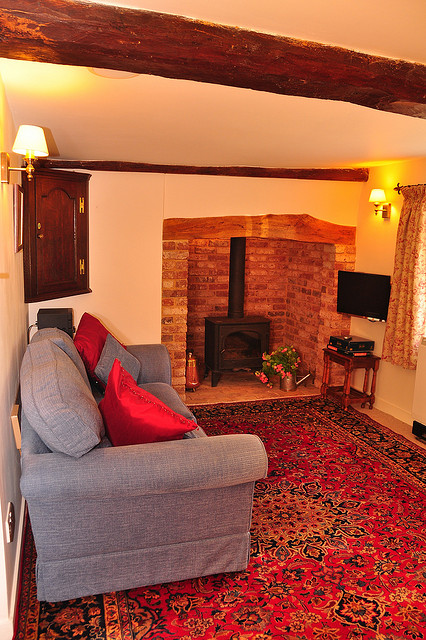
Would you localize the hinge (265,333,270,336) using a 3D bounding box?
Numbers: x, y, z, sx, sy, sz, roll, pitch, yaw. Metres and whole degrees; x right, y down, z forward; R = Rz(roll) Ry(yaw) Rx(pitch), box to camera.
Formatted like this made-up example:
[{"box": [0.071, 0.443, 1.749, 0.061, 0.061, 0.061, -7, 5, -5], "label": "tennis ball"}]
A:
[{"box": [0.608, 0.157, 5.395, 0.014, 0.036, 0.069, -5, -2, 38], "label": "hinge"}]

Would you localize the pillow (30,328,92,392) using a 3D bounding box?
[{"box": [-0.740, 0.196, 2.321, 0.112, 0.260, 0.320, -17, -8, -7], "label": "pillow"}]

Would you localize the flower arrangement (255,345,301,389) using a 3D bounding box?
[{"box": [0.635, 0.565, 5.370, 0.374, 0.265, 0.301, -24, 23, -24], "label": "flower arrangement"}]

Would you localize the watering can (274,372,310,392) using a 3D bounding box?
[{"box": [0.878, 0.689, 5.336, 0.331, 0.239, 0.182, 1, 7, -11], "label": "watering can"}]

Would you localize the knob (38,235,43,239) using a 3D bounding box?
[{"box": [-1.312, -0.636, 3.623, 0.008, 0.031, 0.024, 16, 17, 39], "label": "knob"}]

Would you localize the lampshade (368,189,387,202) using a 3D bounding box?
[{"box": [1.504, -1.137, 4.367, 0.118, 0.118, 0.119, -7, 22, -5], "label": "lampshade"}]

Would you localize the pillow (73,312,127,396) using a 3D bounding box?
[{"box": [-0.819, 0.160, 3.108, 0.131, 0.444, 0.417, -25, 37, -3], "label": "pillow"}]

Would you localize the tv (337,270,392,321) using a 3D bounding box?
[{"box": [1.502, -0.253, 4.684, 0.050, 0.362, 0.485, -6, 10, -37], "label": "tv"}]

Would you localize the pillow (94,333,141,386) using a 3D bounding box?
[{"box": [-0.608, 0.262, 3.056, 0.082, 0.291, 0.268, -12, 47, 15], "label": "pillow"}]

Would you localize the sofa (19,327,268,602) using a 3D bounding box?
[{"box": [-0.508, 0.557, 2.506, 0.971, 0.984, 1.473, -4, 14, -23], "label": "sofa"}]

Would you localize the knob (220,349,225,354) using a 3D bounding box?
[{"box": [0.097, 0.342, 5.271, 0.013, 0.053, 0.052, 9, 16, 20], "label": "knob"}]

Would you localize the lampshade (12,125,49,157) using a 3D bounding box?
[{"box": [-0.840, -0.824, 2.226, 0.154, 0.151, 0.156, 17, 25, 27], "label": "lampshade"}]

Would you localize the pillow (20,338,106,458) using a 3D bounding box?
[{"box": [-0.688, 0.287, 2.124, 0.319, 0.291, 0.839, -9, 18, -22], "label": "pillow"}]
